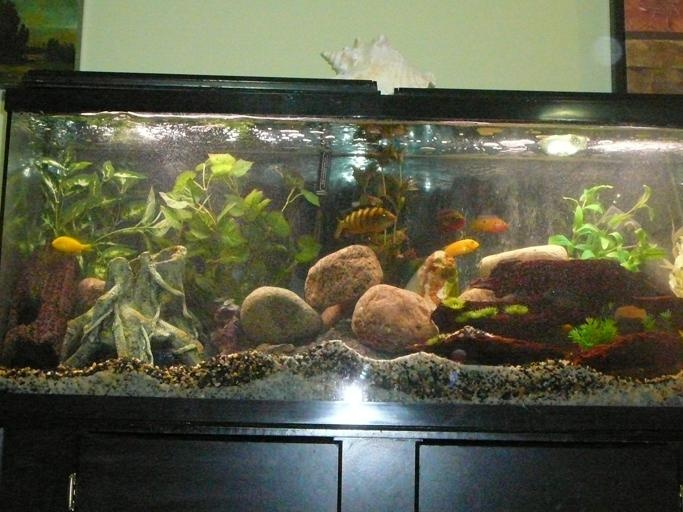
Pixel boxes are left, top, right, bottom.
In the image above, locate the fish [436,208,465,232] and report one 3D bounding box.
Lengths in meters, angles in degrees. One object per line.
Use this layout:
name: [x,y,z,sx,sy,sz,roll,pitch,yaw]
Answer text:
fish: [0.520,-0.168,3.363,0.130,0.104,0.010,3,0,-4]
